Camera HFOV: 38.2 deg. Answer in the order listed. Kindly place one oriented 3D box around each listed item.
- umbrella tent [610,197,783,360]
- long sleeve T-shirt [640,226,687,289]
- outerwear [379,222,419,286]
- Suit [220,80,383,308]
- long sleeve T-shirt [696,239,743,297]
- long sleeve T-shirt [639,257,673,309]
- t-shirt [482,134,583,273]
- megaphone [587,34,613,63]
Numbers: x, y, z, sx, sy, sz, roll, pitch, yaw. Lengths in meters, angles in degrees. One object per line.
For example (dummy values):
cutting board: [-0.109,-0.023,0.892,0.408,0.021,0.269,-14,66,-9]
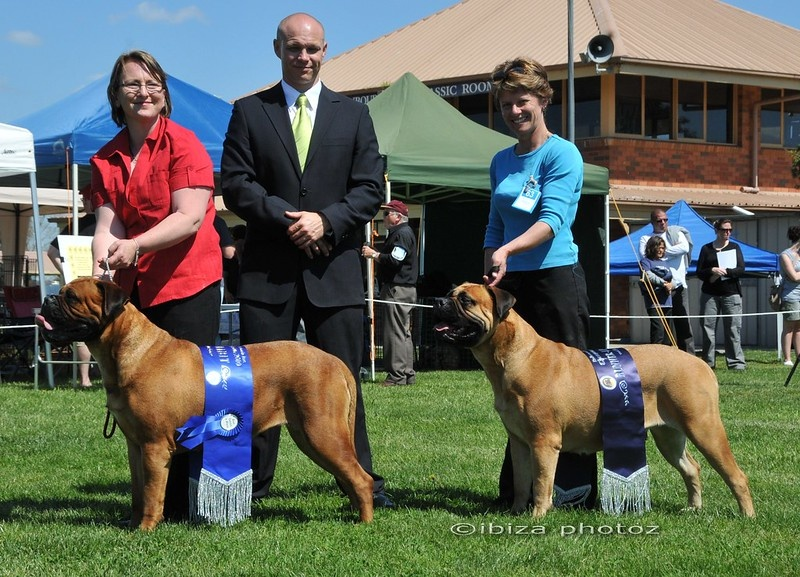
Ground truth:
umbrella tent: [5.937,-0.474,21.718,3.233,2.232,3.238,-5,5,-28]
long sleeve T-shirt: [4.067,-0.467,17.722,0.794,1.204,0.648,-1,-8,0]
outerwear: [0.007,-0.434,15.859,0.630,0.964,1.033,3,2,7]
Suit: [-0.866,-0.809,9.879,1.318,1.867,0.897,1,6,-6]
long sleeve T-shirt: [5.024,-0.319,18.241,0.904,1.238,0.765,-1,-7,13]
long sleeve T-shirt: [4.034,-0.104,17.752,0.409,0.783,0.439,2,1,13]
t-shirt: [1.161,-0.737,9.851,0.767,1.153,0.437,-1,-2,7]
megaphone: [3.296,-3.918,18.834,0.434,0.528,0.511,0,16,-1]
